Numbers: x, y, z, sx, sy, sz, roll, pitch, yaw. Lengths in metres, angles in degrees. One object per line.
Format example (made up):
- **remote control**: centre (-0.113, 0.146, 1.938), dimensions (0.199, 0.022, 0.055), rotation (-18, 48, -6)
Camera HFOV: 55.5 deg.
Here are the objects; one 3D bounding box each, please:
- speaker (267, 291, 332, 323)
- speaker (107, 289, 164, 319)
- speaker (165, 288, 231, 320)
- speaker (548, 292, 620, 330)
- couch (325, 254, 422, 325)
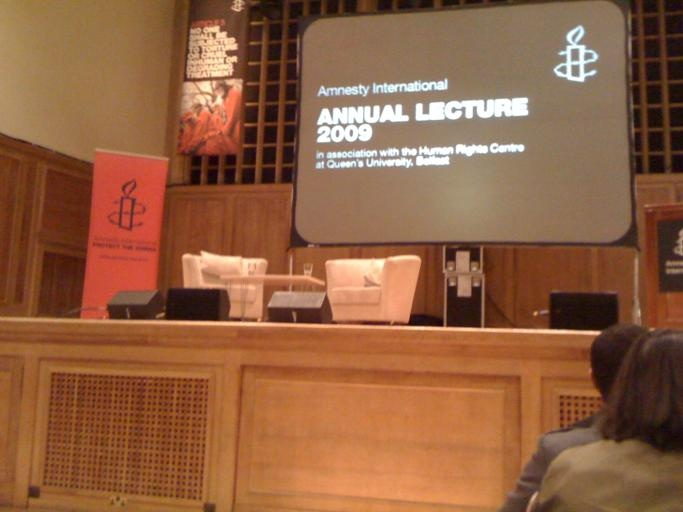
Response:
- **speaker**: centre (-0.236, 0.274, 3.590), dimensions (0.326, 0.163, 0.163), rotation (1, -5, -8)
- **speaker**: centre (-1.149, 0.260, 3.625), dimensions (0.300, 0.155, 0.181), rotation (1, -5, -15)
- **speaker**: centre (-0.782, 0.251, 3.506), dimensions (0.247, 0.190, 0.191), rotation (1, 13, 2)
- **speaker**: centre (1.238, 0.271, 3.317), dimensions (0.249, 0.224, 0.258), rotation (1, 0, 18)
- **couch**: centre (0.335, 0.358, 6.561), dimensions (0.879, 0.744, 0.716), rotation (-6, -14, 31)
